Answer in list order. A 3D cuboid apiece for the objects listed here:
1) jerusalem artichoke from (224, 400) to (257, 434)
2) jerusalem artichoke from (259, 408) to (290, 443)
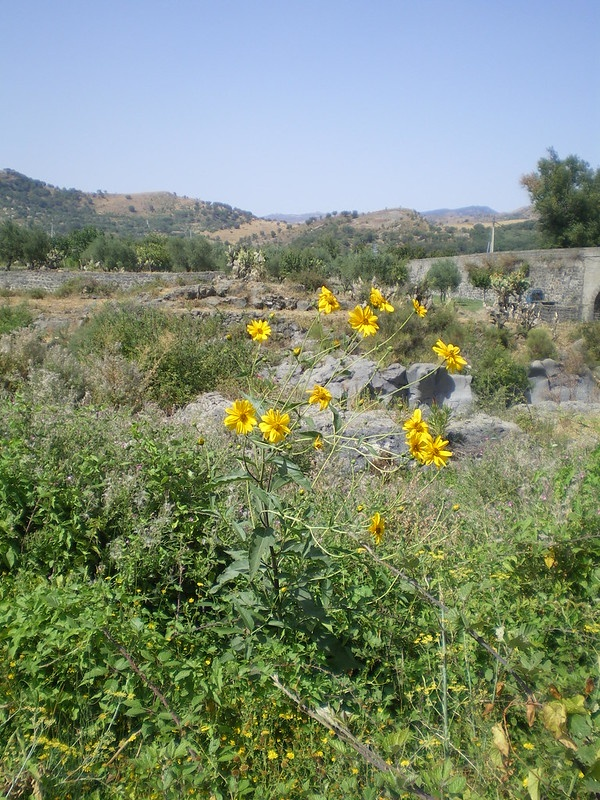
[{"bbox_3d":[-0.213,0.064,2.292,0.121,0.124,0.035,-36,-14,15],"label":"jerusalem artichoke"},{"bbox_3d":[-0.098,0.095,2.234,0.120,0.120,0.044,-32,4,-13],"label":"jerusalem artichoke"}]
